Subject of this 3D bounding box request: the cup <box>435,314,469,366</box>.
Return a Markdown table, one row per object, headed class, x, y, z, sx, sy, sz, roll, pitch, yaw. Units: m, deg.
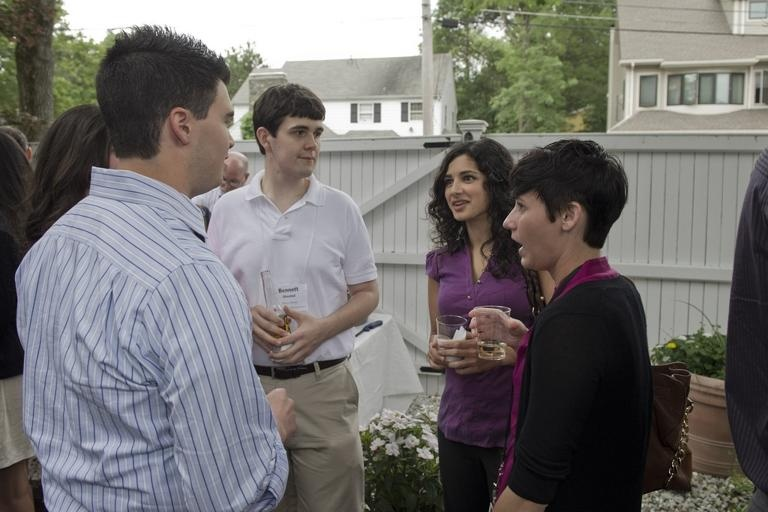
| class | x | y | z | sx | sy | sz | roll | pitch | yaw |
| --- | --- | --- | --- | --- | --- | --- | --- | --- | --- |
| cup | 0.317 | 0.382 | 3.553 | 0.171 | 0.208 | 0.186 | 1 | -7 | 0 |
